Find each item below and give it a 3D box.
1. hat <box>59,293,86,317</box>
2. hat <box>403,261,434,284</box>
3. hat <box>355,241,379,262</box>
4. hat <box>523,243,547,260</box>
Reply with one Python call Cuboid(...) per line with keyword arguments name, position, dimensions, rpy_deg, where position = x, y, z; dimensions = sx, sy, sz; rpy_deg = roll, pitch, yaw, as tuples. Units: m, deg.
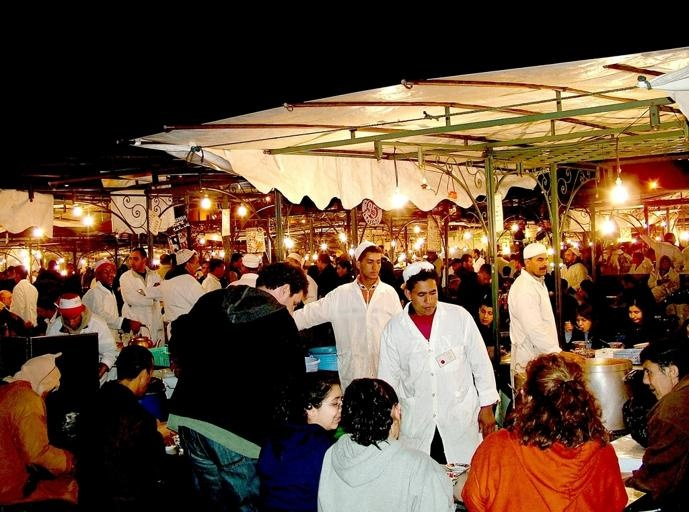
Cuboid(name="hat", position=(-3.682, 0.639, 7.718), dimensions=(0.281, 0.237, 0.299), rpy_deg=(-4, 0, -8))
Cuboid(name="hat", position=(0.747, 0.107, 5.687), dimensions=(0.217, 0.066, 0.244), rpy_deg=(-31, 9, -29))
Cuboid(name="hat", position=(0.272, -0.108, 7.677), dimensions=(0.208, 0.252, 0.287), rpy_deg=(-2, -44, -1))
Cuboid(name="hat", position=(2.628, -0.091, 7.948), dimensions=(0.246, 0.162, 0.253), rpy_deg=(-3, 3, 41))
